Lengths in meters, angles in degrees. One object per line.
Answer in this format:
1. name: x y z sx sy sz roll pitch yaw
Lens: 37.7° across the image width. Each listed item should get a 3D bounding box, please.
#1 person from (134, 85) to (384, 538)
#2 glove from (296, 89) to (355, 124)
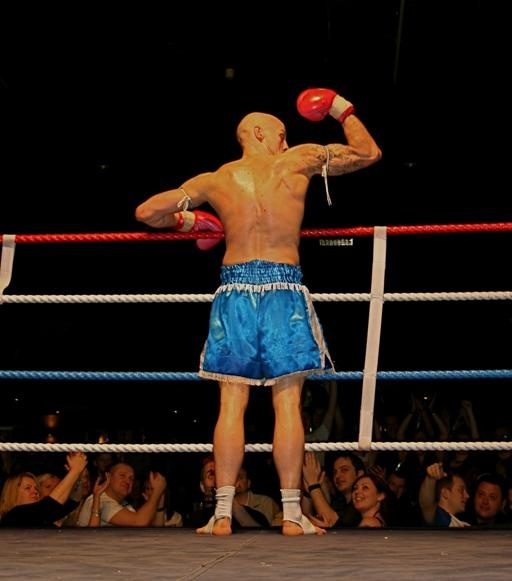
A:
1. person: -0.008 0.029 2.310 0.759 1.355 0.342 1 -9 5
2. glove: 0.232 -0.589 2.464 0.183 0.128 0.073 9 -38 17
